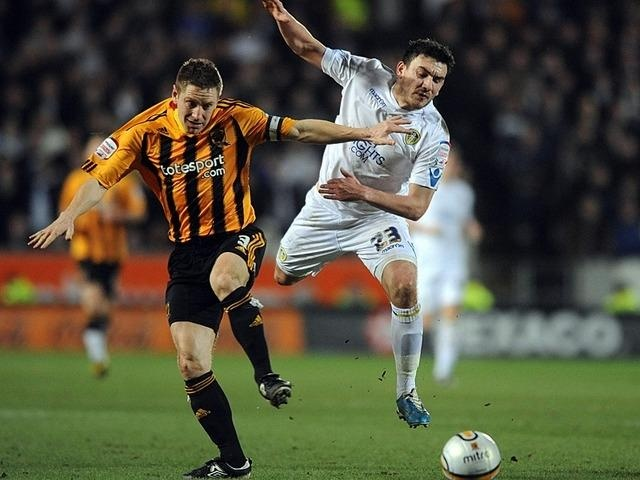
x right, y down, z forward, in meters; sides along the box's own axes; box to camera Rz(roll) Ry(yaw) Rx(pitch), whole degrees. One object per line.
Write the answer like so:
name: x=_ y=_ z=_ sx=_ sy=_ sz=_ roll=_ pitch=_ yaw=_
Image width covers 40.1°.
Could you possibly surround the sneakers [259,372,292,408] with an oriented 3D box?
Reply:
sneakers: x=-0.386 y=1.163 z=6.928 sx=0.179 sy=0.139 sz=0.309 roll=13 pitch=16 yaw=-38
